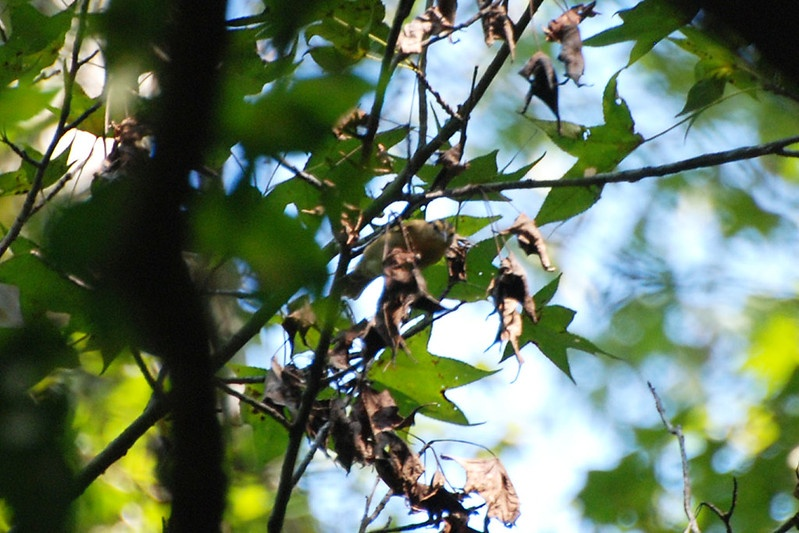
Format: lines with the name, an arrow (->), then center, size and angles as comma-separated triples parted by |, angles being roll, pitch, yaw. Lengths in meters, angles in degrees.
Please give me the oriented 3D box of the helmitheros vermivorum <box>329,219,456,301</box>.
helmitheros vermivorum -> 0.020, -0.006, 5.434 | 0.438, 0.187, 0.187 | -37, -46, 22
